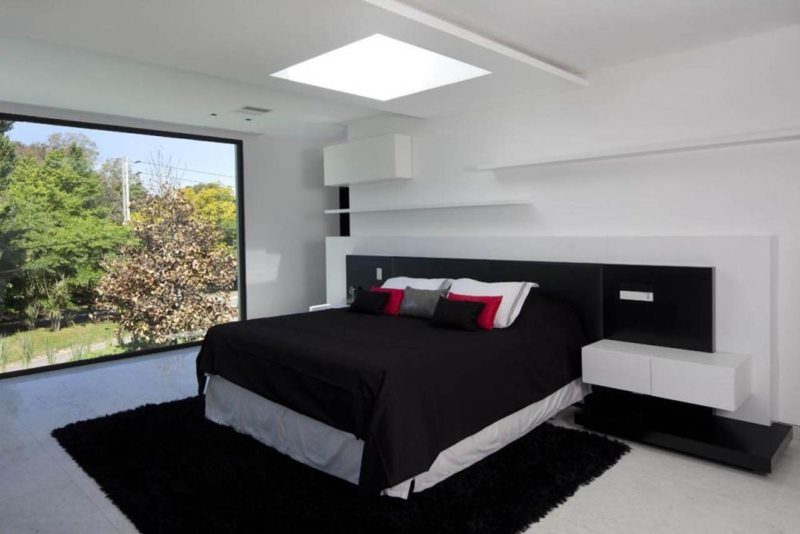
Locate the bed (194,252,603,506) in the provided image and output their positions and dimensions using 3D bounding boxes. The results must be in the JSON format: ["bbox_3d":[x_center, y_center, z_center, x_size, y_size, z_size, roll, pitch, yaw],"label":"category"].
[{"bbox_3d":[0.349,0.930,4.575,2.399,1.053,2.297,1,2,44],"label":"bed"}]
